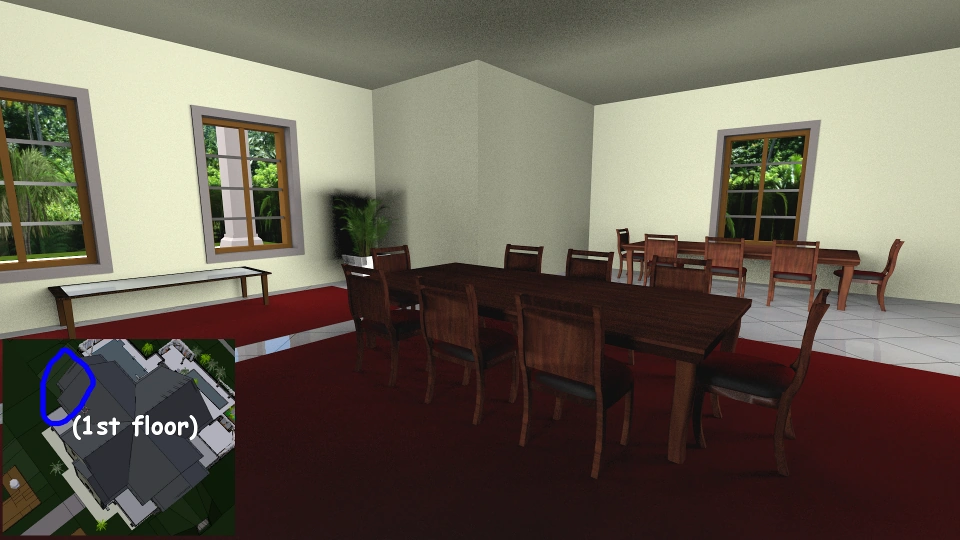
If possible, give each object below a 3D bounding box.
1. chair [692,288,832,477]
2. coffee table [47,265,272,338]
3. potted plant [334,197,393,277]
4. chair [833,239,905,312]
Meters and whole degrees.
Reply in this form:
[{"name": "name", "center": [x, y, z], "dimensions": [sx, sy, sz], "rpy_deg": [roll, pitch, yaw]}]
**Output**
[{"name": "chair", "center": [2.819, 1.088, 5.418], "dimensions": [1.175, 1.770, 0.591], "rpy_deg": [4, 13, 15]}, {"name": "coffee table", "center": [-4.759, 0.423, 7.790], "dimensions": [2.510, 0.683, 0.726], "rpy_deg": [-7, 14, -33]}, {"name": "potted plant", "center": [-2.098, -0.632, 9.603], "dimensions": [0.887, 1.036, 0.772], "rpy_deg": [7, -5, -5]}, {"name": "chair", "center": [6.195, 0.026, 8.392], "dimensions": [1.464, 1.050, 0.651], "rpy_deg": [-9, 15, -38]}]
